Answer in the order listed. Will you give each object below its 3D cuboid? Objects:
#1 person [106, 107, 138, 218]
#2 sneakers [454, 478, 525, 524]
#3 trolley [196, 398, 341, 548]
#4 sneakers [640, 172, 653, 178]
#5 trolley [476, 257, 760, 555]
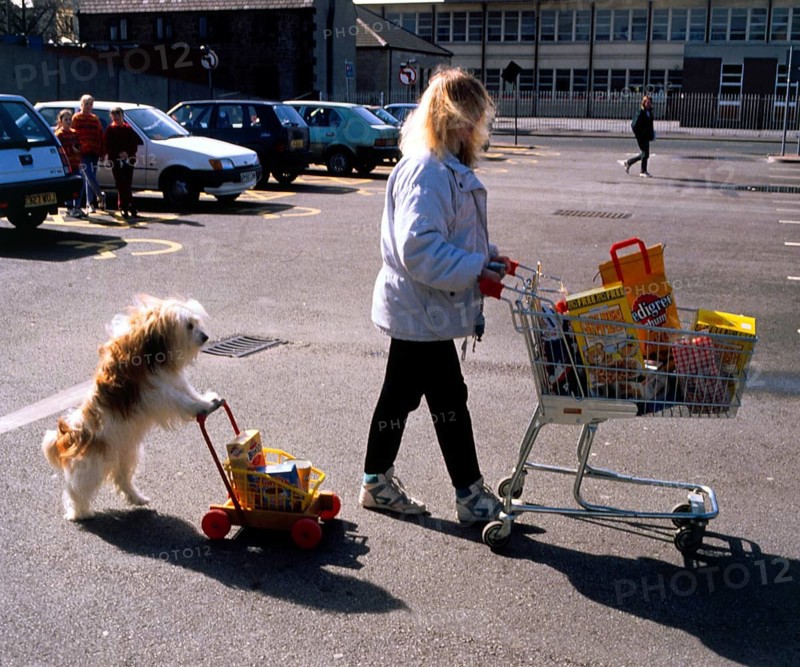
[{"bbox_3d":[-4.672,-2.864,14.289,0.455,1.866,0.567,0,13,-1],"label":"person"},{"bbox_3d":[0.489,0.942,4.674,0.357,0.301,0.143,-5,7,-4],"label":"sneakers"},{"bbox_3d":[-0.663,0.748,4.762,0.767,0.934,0.600,1,15,3],"label":"trolley"},{"bbox_3d":[6.826,-4.383,23.404,0.342,0.177,0.213,2,23,-12],"label":"sneakers"},{"bbox_3d":[1.160,0.117,4.818,1.689,2.003,1.080,1,25,6],"label":"trolley"}]
